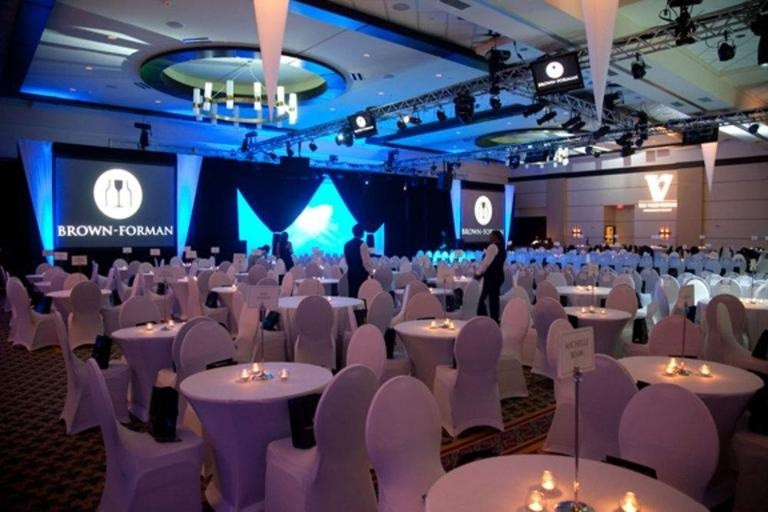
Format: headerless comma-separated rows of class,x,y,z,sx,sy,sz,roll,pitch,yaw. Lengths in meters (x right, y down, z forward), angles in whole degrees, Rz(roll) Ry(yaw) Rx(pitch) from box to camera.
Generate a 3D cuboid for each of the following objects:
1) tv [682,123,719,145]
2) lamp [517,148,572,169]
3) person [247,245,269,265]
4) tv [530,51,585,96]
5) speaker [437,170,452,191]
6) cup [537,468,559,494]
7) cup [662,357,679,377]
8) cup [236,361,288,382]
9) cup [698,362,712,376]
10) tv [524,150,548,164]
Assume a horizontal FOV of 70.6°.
tv,8.691,-3.332,14.811,0.623,0.552,0.941,-15,2,0
lamp,5.922,-3.599,19.875,1.437,0.723,1.244,0,1,-39
person,-3.690,-0.025,15.755,0.888,0.382,0.586,-2,-2,41
tv,3.236,-3.461,10.190,1.102,0.898,0.158,-5,15,38
speaker,2.279,-2.873,20.427,0.543,0.650,0.550,-1,3,6
cup,1.450,1.991,4.837,0.162,0.198,0.173,-1,2,0
cup,3.314,1.307,6.263,0.164,0.206,0.180,3,34,36
cup,-1.350,1.290,6.141,0.554,0.160,0.326,-1,3,0
cup,3.640,1.287,6.180,0.110,0.138,0.109,-3,9,1
tv,5.284,-3.458,18.892,0.488,0.369,0.519,-1,1,16
